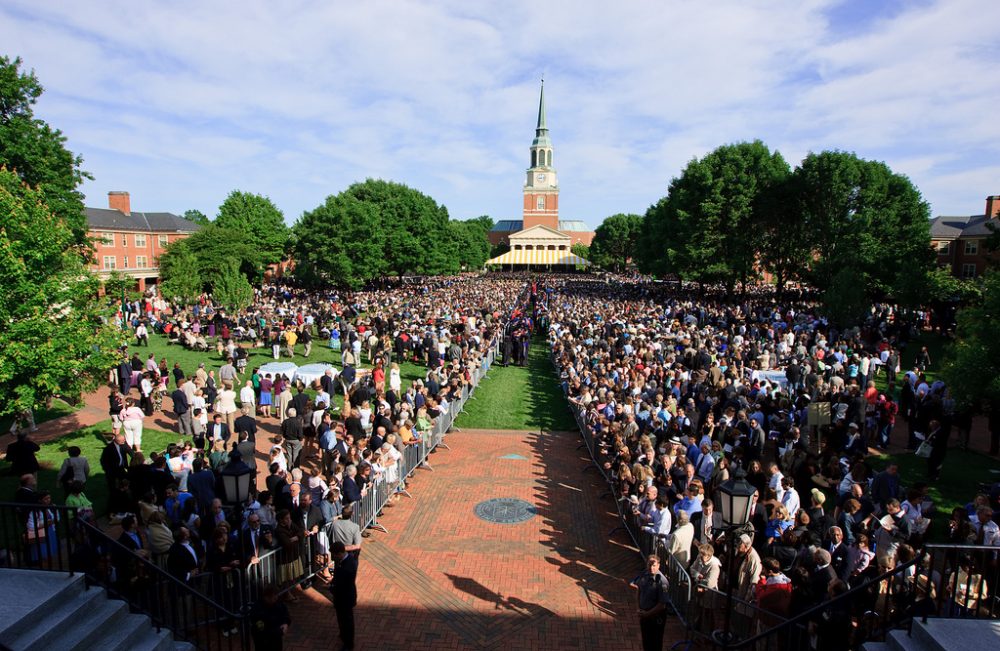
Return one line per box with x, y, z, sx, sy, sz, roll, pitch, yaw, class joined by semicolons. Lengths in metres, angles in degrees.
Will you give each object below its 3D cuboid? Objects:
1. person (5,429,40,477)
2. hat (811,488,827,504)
-12.545;3.604;18.262;0.709;1.496;2.971;-1;6;-35;person
7.336;3.909;15.956;0.528;0.369;0.204;-1;7;-35;hat
